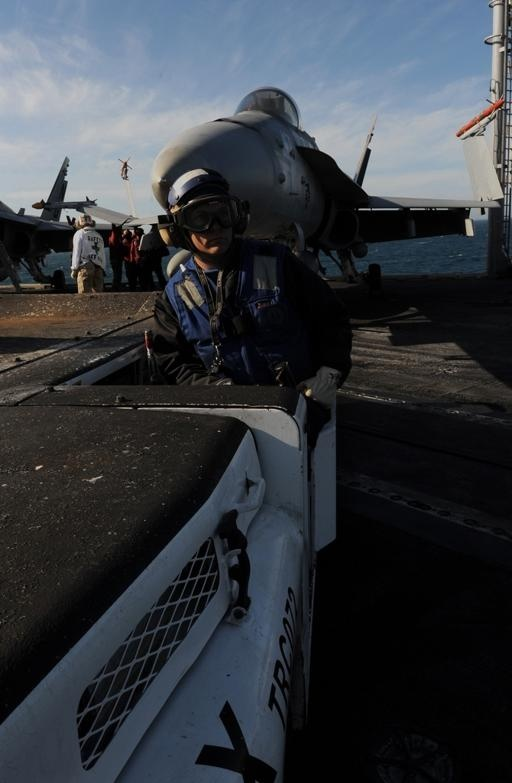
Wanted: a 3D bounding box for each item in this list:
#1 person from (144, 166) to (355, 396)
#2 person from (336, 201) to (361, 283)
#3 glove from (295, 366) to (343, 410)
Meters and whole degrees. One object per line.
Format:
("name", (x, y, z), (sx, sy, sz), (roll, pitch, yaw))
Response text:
("person", (-0.075, -0.487, 2.139), (0.996, 1.022, 0.514), (0, 12, 12))
("person", (2.360, -3.288, 12.051), (0.452, 1.896, 0.593), (-1, 52, 7))
("glove", (0.282, 0.002, 2.011), (0.162, 0.075, 0.165), (35, 51, 11))
